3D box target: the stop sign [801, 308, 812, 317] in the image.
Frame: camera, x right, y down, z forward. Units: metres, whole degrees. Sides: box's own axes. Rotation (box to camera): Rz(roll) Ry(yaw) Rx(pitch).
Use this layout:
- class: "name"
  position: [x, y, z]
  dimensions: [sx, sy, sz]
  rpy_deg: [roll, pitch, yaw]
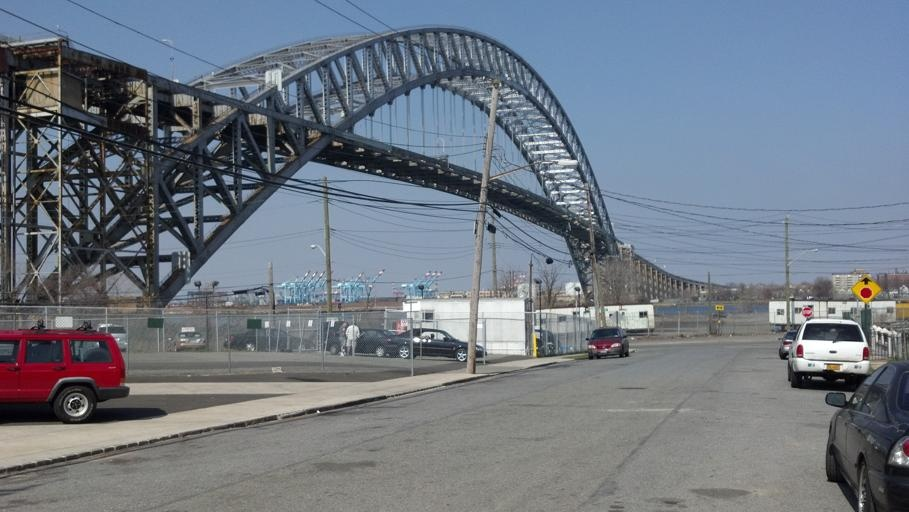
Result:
- class: "stop sign"
  position: [25.298, 4.024, 88.511]
  dimensions: [0.225, 0.850, 0.910]
  rpy_deg: [8, -4, -37]

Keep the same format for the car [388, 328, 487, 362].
- class: "car"
  position: [-1.513, 5.493, 73.904]
  dimensions: [6.364, 2.120, 2.583]
  rpy_deg: [-1, -2, 8]
